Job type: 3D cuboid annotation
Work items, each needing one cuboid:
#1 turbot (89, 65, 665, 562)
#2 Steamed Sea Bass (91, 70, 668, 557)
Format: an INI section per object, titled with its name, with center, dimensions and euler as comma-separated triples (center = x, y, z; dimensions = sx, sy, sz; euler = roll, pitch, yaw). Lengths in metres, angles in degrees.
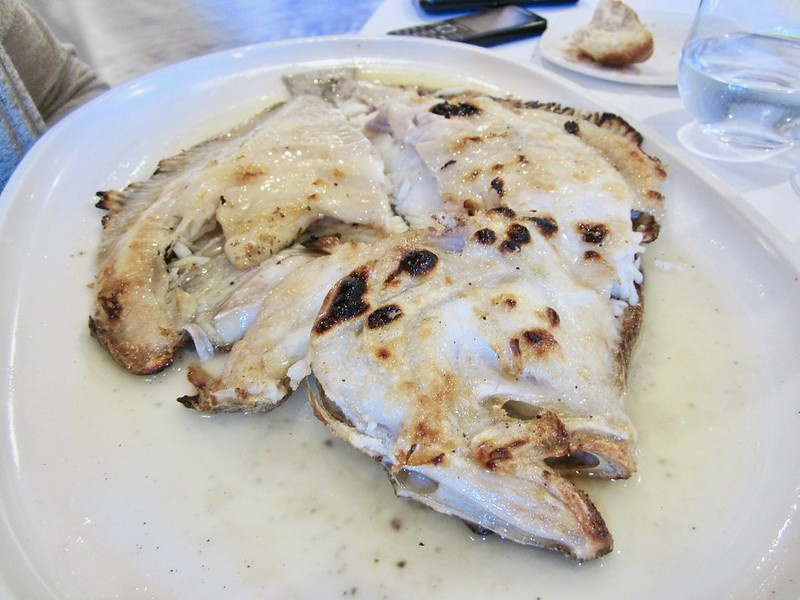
[turbot]
center = -0.086, -0.002, 4.204
dimensions = 2.862, 2.268, 0.470
euler = -5, 21, 22
[Steamed Sea Bass]
center = -0.027, 0.395, 4.649
dimensions = 2.208, 2.119, 0.386
euler = -5, -42, -1
